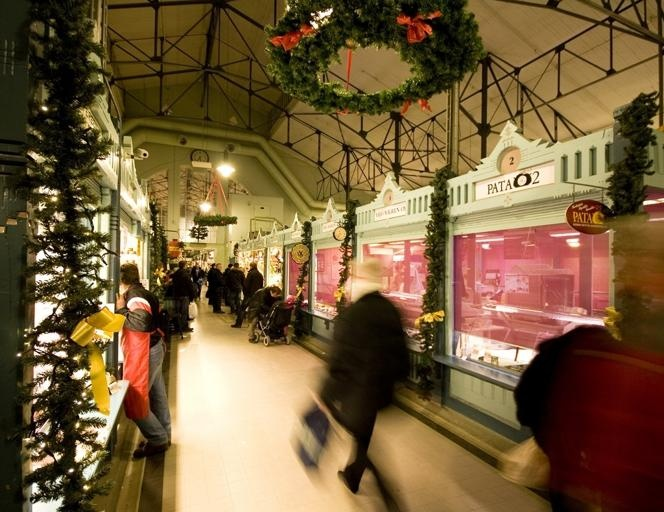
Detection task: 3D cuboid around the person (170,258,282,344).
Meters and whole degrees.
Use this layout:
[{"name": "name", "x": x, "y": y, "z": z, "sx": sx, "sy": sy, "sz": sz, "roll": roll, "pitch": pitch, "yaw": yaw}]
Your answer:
[{"name": "person", "x": -2.545, "y": 1.085, "z": 11.651, "sx": 1.363, "sy": 1.012, "sz": 2.845, "roll": 14, "pitch": -2, "yaw": -32}]

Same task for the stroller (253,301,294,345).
[{"name": "stroller", "x": -1.020, "y": 1.296, "z": 9.510, "sx": 0.643, "sy": 0.974, "sz": 0.912, "roll": 3, "pitch": 0, "yaw": -35}]

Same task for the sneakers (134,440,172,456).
[{"name": "sneakers", "x": -1.744, "y": 1.841, "z": 4.716, "sx": 0.363, "sy": 0.167, "sz": 0.126, "roll": 5, "pitch": -7, "yaw": -15}]

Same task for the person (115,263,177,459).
[{"name": "person", "x": -1.782, "y": 0.995, "z": 4.548, "sx": 0.424, "sy": 1.856, "sz": 0.517, "roll": -2, "pitch": 5, "yaw": -18}]

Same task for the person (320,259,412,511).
[{"name": "person", "x": 0.234, "y": 0.826, "z": 3.378, "sx": 0.556, "sy": 1.569, "sz": 0.417, "roll": -5, "pitch": 6, "yaw": -40}]
